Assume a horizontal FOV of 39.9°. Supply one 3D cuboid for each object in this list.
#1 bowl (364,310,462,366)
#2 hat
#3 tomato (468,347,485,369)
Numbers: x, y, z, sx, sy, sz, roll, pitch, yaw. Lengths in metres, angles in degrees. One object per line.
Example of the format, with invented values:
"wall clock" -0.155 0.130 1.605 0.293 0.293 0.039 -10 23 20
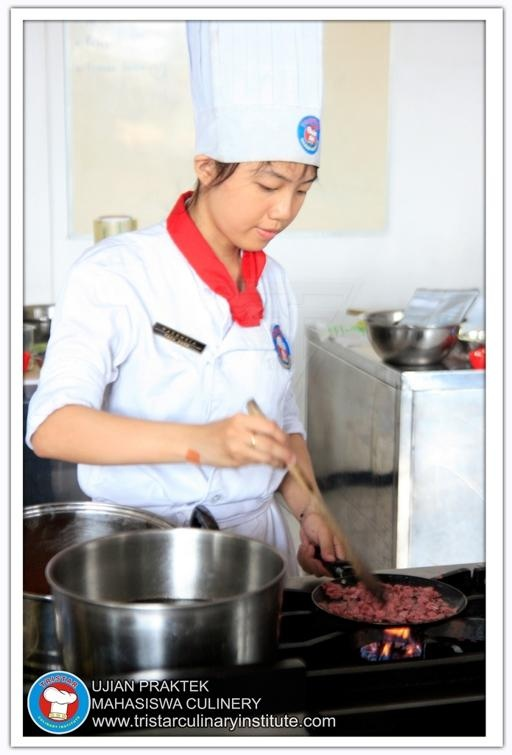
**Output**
"bowl" 0.392 -0.087 1.793 0.228 0.104 0.223 1 8 0
"hat" -0.007 -0.455 1.127 0.208 0.230 0.236 -9 14 -32
"tomato" 0.521 -0.044 1.678 0.030 0.050 0.158 2 10 15
